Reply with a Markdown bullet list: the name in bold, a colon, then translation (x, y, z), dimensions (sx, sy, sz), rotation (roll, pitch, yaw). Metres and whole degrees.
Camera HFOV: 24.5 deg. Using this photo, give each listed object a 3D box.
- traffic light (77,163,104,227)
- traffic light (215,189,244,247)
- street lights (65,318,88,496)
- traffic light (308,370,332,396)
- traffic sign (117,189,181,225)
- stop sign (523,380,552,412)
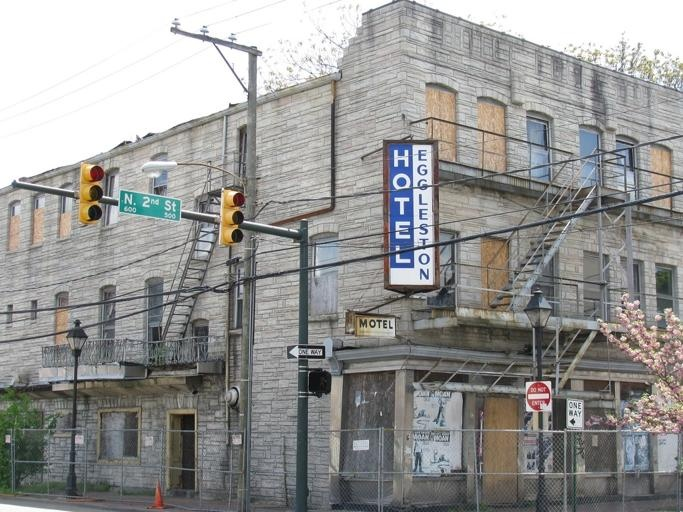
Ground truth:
- **traffic light**: translation (-6.803, -1.700, 42.429), dimensions (0.724, 1.715, 0.573), rotation (7, -11, -15)
- **traffic light**: translation (-3.102, -1.132, 43.819), dimensions (0.643, 1.637, 0.882), rotation (2, -18, -5)
- **street lights**: translation (-9.057, 5.099, 52.876), dimensions (0.824, 5.666, 0.985), rotation (-7, -8, 38)
- **traffic light**: translation (-0.684, 3.688, 45.779), dimensions (0.652, 0.755, 0.606), rotation (1, -17, -1)
- **traffic sign**: translation (-5.359, -1.448, 43.427), dimensions (1.786, 0.692, 0.448), rotation (7, -19, -21)
- **stop sign**: translation (5.565, 3.942, 44.067), dimensions (0.852, 0.861, 0.420), rotation (-15, -23, 40)
